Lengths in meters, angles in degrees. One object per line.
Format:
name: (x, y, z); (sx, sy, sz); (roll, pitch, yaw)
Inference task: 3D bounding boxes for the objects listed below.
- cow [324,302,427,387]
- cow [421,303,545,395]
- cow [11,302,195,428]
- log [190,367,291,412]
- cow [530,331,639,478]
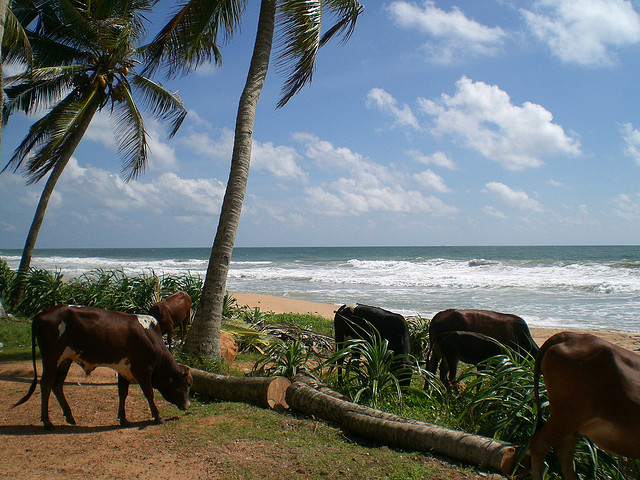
cow: (0.744, 1.565, 6.401); (0.972, 1.008, 1.914); (0, -1, -25)
cow: (2.653, 1.760, 6.321); (2.208, 1.287, 0.628); (7, -15, 5)
cow: (-2.530, 1.472, 5.287); (1.824, 1.567, 1.203); (0, 0, -10)
log: (-1.365, 2.084, 6.008); (1.928, 0.521, 0.385); (-5, -26, 34)
cow: (2.069, 1.336, 3.293); (0.753, 1.205, 0.329); (-1, 0, 27)
